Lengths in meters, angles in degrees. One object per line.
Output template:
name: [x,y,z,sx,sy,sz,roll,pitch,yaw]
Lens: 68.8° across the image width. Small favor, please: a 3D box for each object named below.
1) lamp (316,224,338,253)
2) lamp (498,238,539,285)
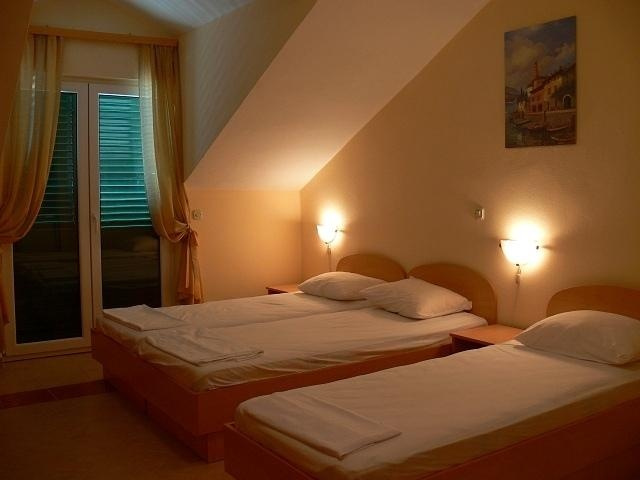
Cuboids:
lamp: [0.126,-0.022,5.471,0.333,0.425,0.273,0,1,7]
lamp: [1.547,0.153,3.759,0.309,0.345,0.310,-1,11,-17]
